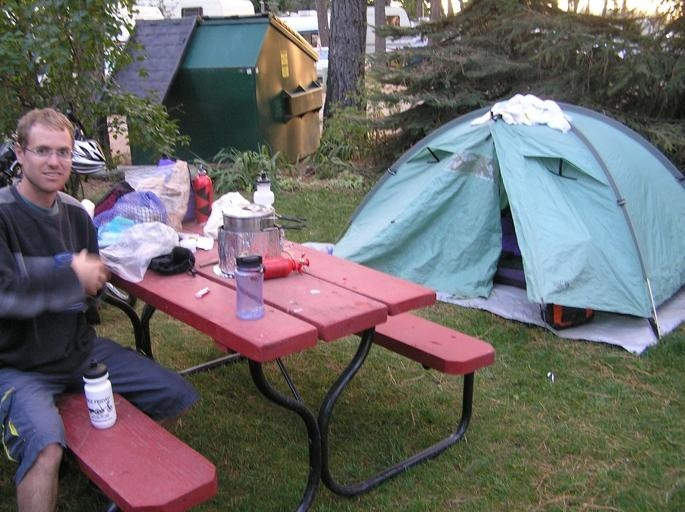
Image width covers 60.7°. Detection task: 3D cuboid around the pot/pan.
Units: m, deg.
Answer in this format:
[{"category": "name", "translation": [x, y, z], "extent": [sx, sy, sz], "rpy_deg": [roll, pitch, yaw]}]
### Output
[{"category": "pot/pan", "translation": [-0.483, -0.099, 3.496], "extent": [0.492, 0.411, 0.335], "rpy_deg": [2, 16, -4]}]

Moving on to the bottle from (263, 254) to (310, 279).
[{"category": "bottle", "translation": [-0.341, 0.061, 3.505], "extent": [0.247, 0.123, 0.079], "rpy_deg": [-7, -16, -36]}]

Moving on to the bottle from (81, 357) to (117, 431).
[{"category": "bottle", "translation": [-1.263, 0.702, 3.044], "extent": [0.139, 0.342, 0.199], "rpy_deg": [-6, 17, -24]}]

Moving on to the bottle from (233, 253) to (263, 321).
[{"category": "bottle", "translation": [-0.488, 0.155, 3.048], "extent": [0.144, 0.358, 0.159], "rpy_deg": [-2, 16, -12]}]
